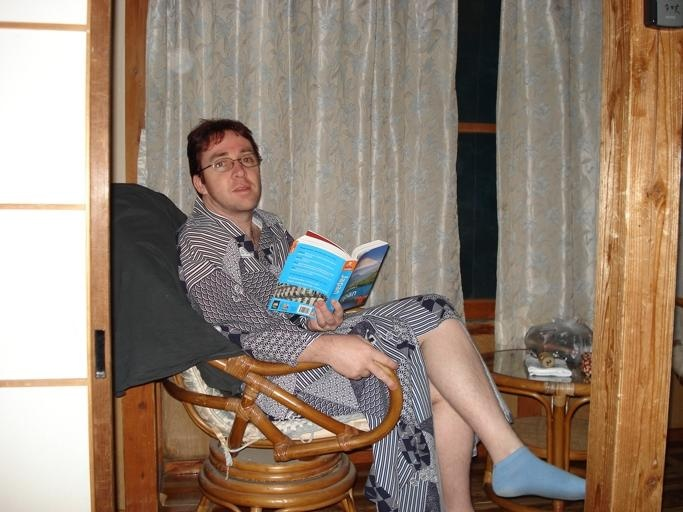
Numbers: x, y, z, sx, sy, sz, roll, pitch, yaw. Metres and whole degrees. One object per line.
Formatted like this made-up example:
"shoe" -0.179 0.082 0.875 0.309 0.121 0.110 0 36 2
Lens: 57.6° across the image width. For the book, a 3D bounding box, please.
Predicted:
"book" -0.056 0.056 1.746 0.396 0.235 0.146 1 36 -33
